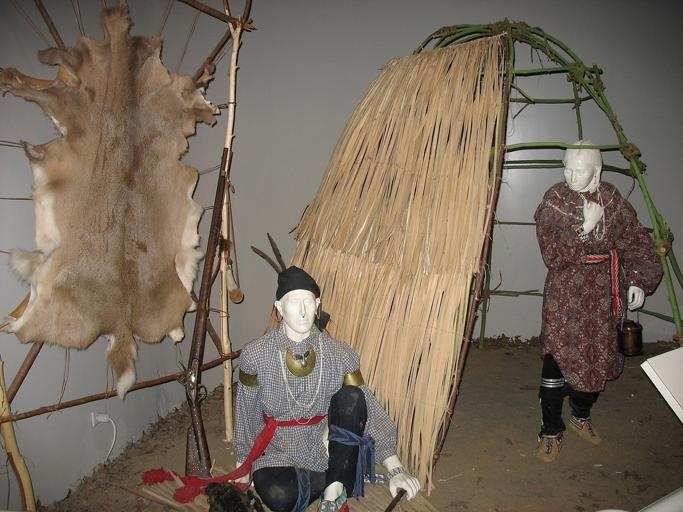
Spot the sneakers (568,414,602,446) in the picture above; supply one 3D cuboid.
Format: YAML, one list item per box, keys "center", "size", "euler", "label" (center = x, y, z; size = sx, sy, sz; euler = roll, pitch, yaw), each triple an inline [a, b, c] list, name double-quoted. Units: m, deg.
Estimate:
- center: [1.438, 1.019, 5.023]
  size: [0.083, 0.100, 0.246]
  euler: [-28, 32, -22]
  label: "sneakers"

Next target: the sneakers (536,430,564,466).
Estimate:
- center: [1.190, 1.105, 4.849]
  size: [0.102, 0.081, 0.199]
  euler: [2, 14, 28]
  label: "sneakers"

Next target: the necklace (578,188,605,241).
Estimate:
- center: [1.389, -0.228, 4.639]
  size: [0.159, 0.226, 0.067]
  euler: [-1, -2, 13]
  label: "necklace"

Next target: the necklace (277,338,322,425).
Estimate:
- center: [-0.225, 0.671, 4.495]
  size: [0.249, 0.482, 0.071]
  euler: [2, 2, -2]
  label: "necklace"

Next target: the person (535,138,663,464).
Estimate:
- center: [1.439, 0.284, 4.845]
  size: [0.655, 1.238, 0.334]
  euler: [2, 2, -8]
  label: "person"
